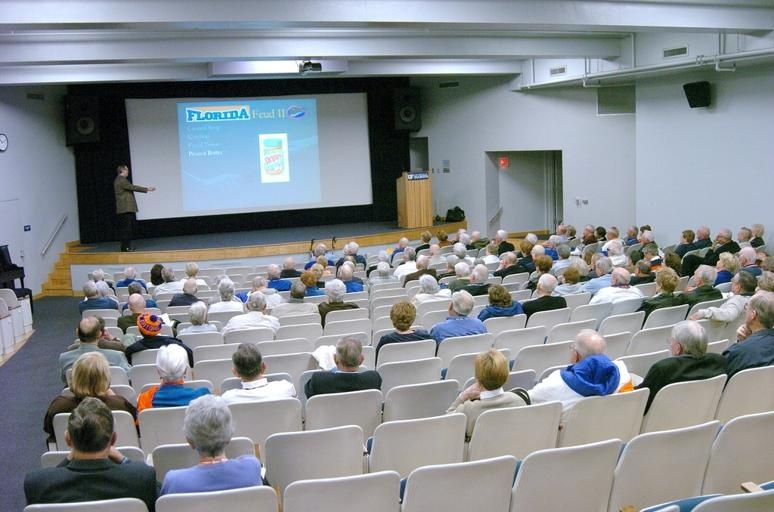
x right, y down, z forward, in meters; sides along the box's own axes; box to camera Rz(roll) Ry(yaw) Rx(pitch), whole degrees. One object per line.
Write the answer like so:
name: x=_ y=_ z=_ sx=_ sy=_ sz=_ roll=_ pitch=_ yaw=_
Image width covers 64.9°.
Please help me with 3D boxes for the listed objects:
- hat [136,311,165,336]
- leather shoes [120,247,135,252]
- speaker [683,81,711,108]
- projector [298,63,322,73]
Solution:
hat: x=-2.587 y=0.750 z=6.730 sx=0.171 sy=0.218 sz=0.333 roll=-34 pitch=-16 yaw=29
leather shoes: x=-6.346 y=-0.163 z=14.900 sx=0.209 sy=0.074 sz=0.134 roll=-3 pitch=5 yaw=-6
speaker: x=6.494 y=-3.379 z=12.721 sx=0.540 sy=0.543 sz=0.298 roll=1 pitch=8 yaw=35
projector: x=-1.686 y=-4.206 z=13.413 sx=0.459 sy=0.281 sz=0.380 roll=-6 pitch=7 yaw=-15
